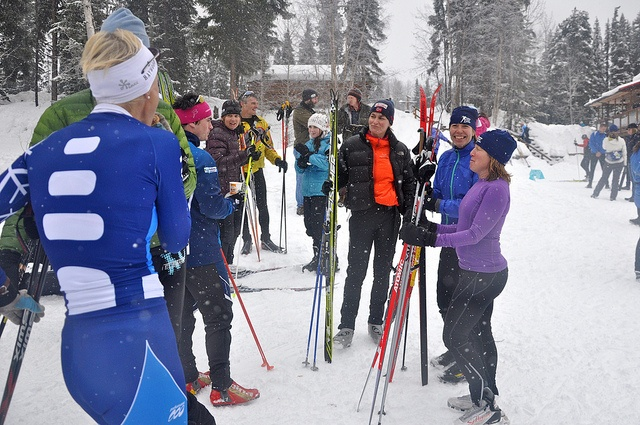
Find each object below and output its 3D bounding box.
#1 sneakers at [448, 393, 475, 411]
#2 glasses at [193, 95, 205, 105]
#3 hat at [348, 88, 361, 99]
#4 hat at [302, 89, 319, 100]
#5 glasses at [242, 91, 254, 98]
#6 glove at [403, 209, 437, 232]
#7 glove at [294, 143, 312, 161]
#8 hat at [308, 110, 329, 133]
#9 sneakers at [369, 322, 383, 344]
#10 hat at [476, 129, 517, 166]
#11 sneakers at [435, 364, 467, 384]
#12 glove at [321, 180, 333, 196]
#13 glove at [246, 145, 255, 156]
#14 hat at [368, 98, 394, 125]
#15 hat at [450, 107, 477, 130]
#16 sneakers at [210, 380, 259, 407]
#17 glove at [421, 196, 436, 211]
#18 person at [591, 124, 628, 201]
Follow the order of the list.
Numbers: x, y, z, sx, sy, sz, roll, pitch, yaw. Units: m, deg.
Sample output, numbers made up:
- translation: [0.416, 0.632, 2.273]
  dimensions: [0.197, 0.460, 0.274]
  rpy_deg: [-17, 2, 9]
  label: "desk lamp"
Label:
- translation: [1.554, 2.089, 5.735]
  dimensions: [0.232, 0.112, 0.140]
  rpy_deg: [7, 32, 3]
  label: "sneakers"
- translation: [-1.313, -1.234, 5.694]
  dimensions: [0.090, 0.106, 0.077]
  rpy_deg: [1, 14, -27]
  label: "glasses"
- translation: [0.651, -2.277, 9.945]
  dimensions: [0.192, 0.203, 0.561]
  rpy_deg: [-2, 9, 8]
  label: "hat"
- translation: [-0.198, -2.064, 9.033]
  dimensions: [0.191, 0.167, 0.183]
  rpy_deg: [-7, 29, 5]
  label: "hat"
- translation: [-1.246, -2.029, 8.936]
  dimensions: [0.072, 0.193, 0.147]
  rpy_deg: [40, 25, 2]
  label: "glasses"
- translation: [1.140, 0.055, 6.017]
  dimensions: [0.292, 0.112, 0.295]
  rpy_deg: [29, -1, -12]
  label: "glove"
- translation: [-0.277, -0.971, 8.253]
  dimensions: [0.279, 0.243, 0.267]
  rpy_deg: [-3, 9, 3]
  label: "glove"
- translation: [-0.026, -1.458, 8.426]
  dimensions: [0.239, 0.286, 0.341]
  rpy_deg: [4, 13, 22]
  label: "hat"
- translation: [0.710, 1.552, 6.705]
  dimensions: [0.137, 0.235, 0.232]
  rpy_deg: [-2, 2, -15]
  label: "sneakers"
- translation: [1.892, -0.717, 5.716]
  dimensions: [0.395, 0.333, 0.313]
  rpy_deg: [24, 15, -5]
  label: "hat"
- translation: [1.535, 1.911, 6.158]
  dimensions: [0.346, 0.147, 0.244]
  rpy_deg: [2, 14, 0]
  label: "sneakers"
- translation: [0.080, -0.307, 6.520]
  dimensions: [0.063, 0.181, 0.135]
  rpy_deg: [4, 8, 2]
  label: "glove"
- translation: [-1.070, -0.961, 8.012]
  dimensions: [0.131, 0.146, 0.135]
  rpy_deg: [3, 5, 28]
  label: "glove"
- translation: [0.822, -1.302, 6.696]
  dimensions: [0.239, 0.289, 0.332]
  rpy_deg: [9, 1, 34]
  label: "hat"
- translation: [1.759, -1.171, 6.494]
  dimensions: [0.247, 0.265, 0.319]
  rpy_deg: [19, 19, 37]
  label: "hat"
- translation: [-0.925, 1.957, 5.669]
  dimensions: [0.490, 0.229, 0.206]
  rpy_deg: [-3, 1, -15]
  label: "sneakers"
- translation: [1.371, -0.113, 6.509]
  dimensions: [0.151, 0.219, 0.206]
  rpy_deg: [11, -10, 8]
  label: "glove"
- translation: [7.936, -1.381, 14.288]
  dimensions: [0.769, 2.019, 0.846]
  rpy_deg: [2, 10, 30]
  label: "person"
